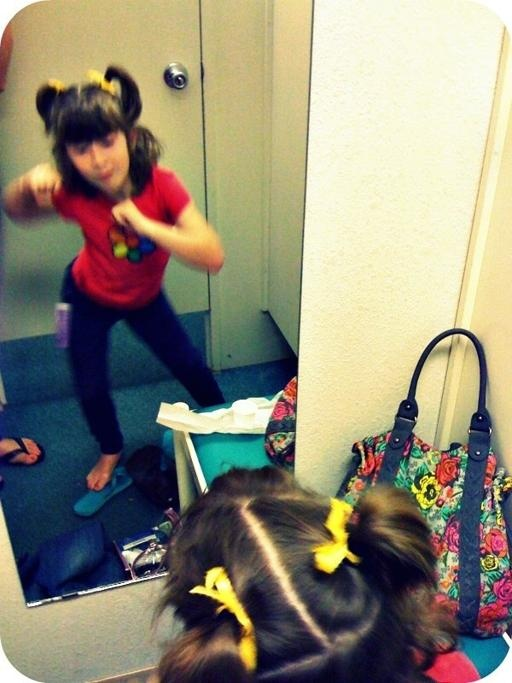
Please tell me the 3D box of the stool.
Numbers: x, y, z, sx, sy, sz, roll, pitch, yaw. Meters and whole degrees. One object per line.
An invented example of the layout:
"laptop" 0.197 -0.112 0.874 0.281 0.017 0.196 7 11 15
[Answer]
"stool" -0.073 0.201 1.135 0.224 0.253 0.109 -15 17 -15

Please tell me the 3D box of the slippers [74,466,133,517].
"slippers" -0.304 0.292 1.103 0.039 0.047 0.121 23 58 38

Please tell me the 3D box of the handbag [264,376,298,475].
"handbag" 0.057 0.182 1.171 0.054 0.165 0.123 -1 14 1

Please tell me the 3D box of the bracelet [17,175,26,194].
"bracelet" -0.336 -0.228 0.805 0.012 0.023 0.002 -14 32 -18
